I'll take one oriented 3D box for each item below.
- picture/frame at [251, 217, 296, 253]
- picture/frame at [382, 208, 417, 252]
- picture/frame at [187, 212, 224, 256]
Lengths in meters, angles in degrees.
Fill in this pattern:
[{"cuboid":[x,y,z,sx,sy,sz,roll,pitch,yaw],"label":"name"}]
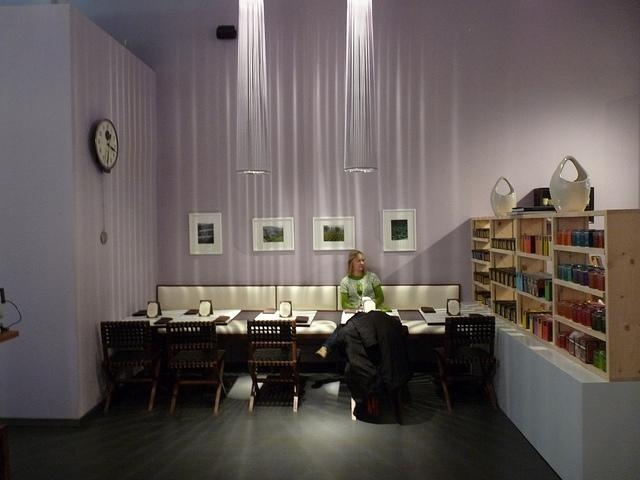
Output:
[{"cuboid":[-0.675,-0.093,7.404,0.428,0.415,0.046,0,-1,0],"label":"picture/frame"},{"cuboid":[1.167,-0.139,7.313,0.497,0.715,0.057,-1,-30,10],"label":"picture/frame"},{"cuboid":[-1.742,-0.109,7.474,0.470,0.678,0.024,-3,30,-16],"label":"picture/frame"}]
